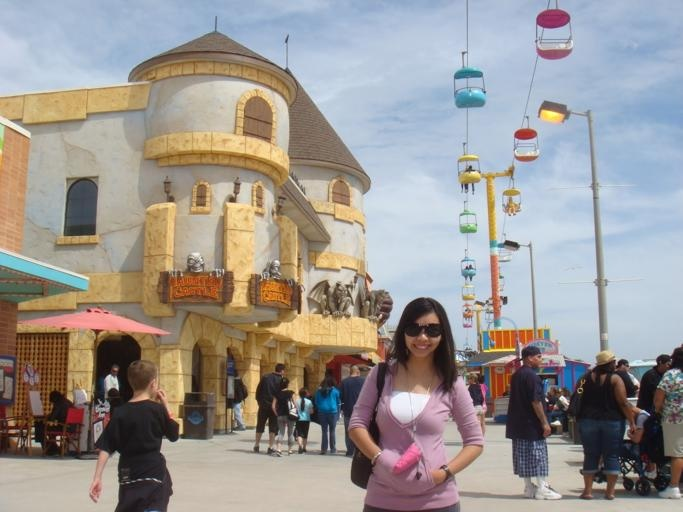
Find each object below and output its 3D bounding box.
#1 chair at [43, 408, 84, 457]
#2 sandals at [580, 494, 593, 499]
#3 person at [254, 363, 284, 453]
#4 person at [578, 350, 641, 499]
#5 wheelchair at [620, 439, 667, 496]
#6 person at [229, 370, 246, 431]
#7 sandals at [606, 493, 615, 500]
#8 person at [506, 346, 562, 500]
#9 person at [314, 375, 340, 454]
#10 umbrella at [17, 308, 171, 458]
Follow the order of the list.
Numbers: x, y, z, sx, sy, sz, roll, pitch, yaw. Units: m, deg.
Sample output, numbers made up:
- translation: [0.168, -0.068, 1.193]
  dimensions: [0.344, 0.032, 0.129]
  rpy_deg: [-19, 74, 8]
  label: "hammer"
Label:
- translation: [-6.463, 4.126, 24.094]
  dimensions: [0.881, 1.174, 0.941]
  rpy_deg: [6, -4, -39]
  label: "chair"
- translation: [4.514, 4.425, 18.876]
  dimensions: [0.254, 0.094, 0.247]
  rpy_deg: [-1, -11, 2]
  label: "sandals"
- translation: [-1.771, 3.733, 25.346]
  dimensions: [0.805, 2.146, 0.635]
  rpy_deg: [2, -7, 18]
  label: "person"
- translation: [4.885, 3.117, 19.031]
  dimensions: [1.041, 2.718, 0.518]
  rpy_deg: [-3, -12, 11]
  label: "person"
- translation: [5.801, 4.107, 19.793]
  dimensions: [0.935, 0.981, 0.902]
  rpy_deg: [3, -3, 27]
  label: "wheelchair"
- translation: [-3.282, 4.598, 32.684]
  dimensions: [0.554, 1.853, 0.902]
  rpy_deg: [1, -12, -6]
  label: "person"
- translation: [4.933, 4.409, 18.857]
  dimensions: [0.170, 0.117, 0.263]
  rpy_deg: [-3, -12, 12]
  label: "sandals"
- translation: [3.629, 3.180, 19.599]
  dimensions: [1.047, 2.772, 0.760]
  rpy_deg: [2, -7, 0]
  label: "person"
- translation: [-0.281, 3.975, 25.782]
  dimensions: [0.633, 1.965, 0.613]
  rpy_deg: [5, -13, -23]
  label: "person"
- translation: [-5.749, 2.239, 24.082]
  dimensions: [3.160, 1.933, 2.810]
  rpy_deg: [3, -2, -12]
  label: "umbrella"
